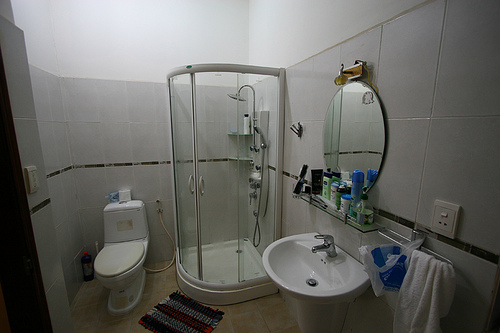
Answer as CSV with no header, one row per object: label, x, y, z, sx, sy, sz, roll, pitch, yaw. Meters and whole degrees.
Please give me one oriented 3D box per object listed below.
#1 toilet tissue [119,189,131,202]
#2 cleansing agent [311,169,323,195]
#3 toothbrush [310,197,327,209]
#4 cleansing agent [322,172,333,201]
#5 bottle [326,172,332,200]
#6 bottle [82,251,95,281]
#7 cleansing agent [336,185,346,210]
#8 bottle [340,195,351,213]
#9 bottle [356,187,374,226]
toilet tissue,-1.327,0.304,3.675,0.130,0.120,0.059,-7,14,-20
cleansing agent,0.538,0.121,2.744,0.099,0.194,0.061,-7,14,-19
toothbrush,0.518,0.275,2.673,0.032,0.031,0.126,-34,57,-29
cleansing agent,0.587,0.148,2.653,0.040,0.206,0.084,-11,16,-34
bottle,0.597,0.150,2.632,0.033,0.201,0.048,3,14,21
bottle,-1.700,1.025,3.629,0.096,0.308,0.135,-9,15,-27
cleansing agent,0.655,0.227,2.538,0.067,0.171,0.059,-12,16,-36
bottle,0.680,0.267,2.469,0.065,0.118,0.042,1,14,16
bottle,0.791,0.302,2.393,0.105,0.204,0.068,2,14,17
